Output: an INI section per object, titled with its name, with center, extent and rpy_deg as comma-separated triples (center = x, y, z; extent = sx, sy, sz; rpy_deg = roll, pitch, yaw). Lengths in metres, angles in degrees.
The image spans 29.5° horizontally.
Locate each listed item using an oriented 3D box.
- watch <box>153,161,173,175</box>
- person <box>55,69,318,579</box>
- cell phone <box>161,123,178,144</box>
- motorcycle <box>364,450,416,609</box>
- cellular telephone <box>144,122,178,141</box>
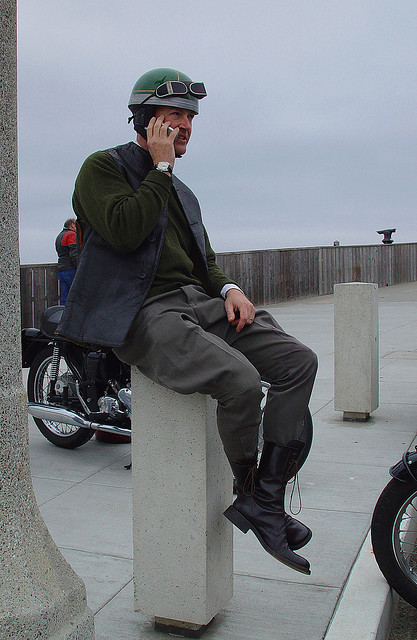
[watch]
center = -0.165, -0.557, 2.859
extent = 0.061, 0.039, 0.059
rpy_deg = 2, -10, -8
[person]
center = -0.062, -0.058, 2.907
extent = 0.957, 1.775, 0.647
rpy_deg = 2, 1, 14
[cell phone]
center = -0.148, -0.695, 2.926
extent = 0.032, 0.085, 0.065
rpy_deg = -6, 17, -37
[motorcycle]
center = 0.824, 0.807, 3.492
extent = 0.249, 0.630, 1.038
rpy_deg = 2, 2, 10
[cellular telephone]
center = -0.174, -0.700, 2.928
extent = 0.072, 0.079, 0.062
rpy_deg = 8, 11, 12
